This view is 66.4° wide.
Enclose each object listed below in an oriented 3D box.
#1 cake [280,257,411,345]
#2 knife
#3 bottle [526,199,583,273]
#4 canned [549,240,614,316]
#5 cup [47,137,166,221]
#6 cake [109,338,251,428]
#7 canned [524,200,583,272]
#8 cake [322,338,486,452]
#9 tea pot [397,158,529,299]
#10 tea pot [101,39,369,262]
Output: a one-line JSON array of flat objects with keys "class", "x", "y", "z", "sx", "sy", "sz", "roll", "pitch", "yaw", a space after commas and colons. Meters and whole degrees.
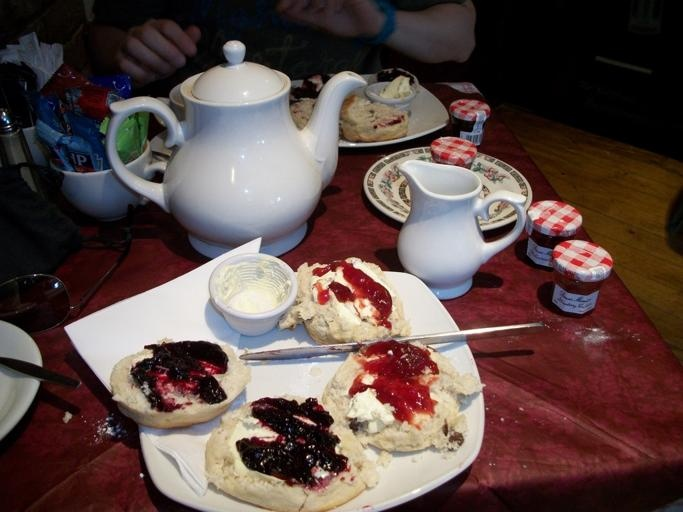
[{"class": "cake", "x": 0.017, "y": 0.077, "z": 0.852, "sx": 0.161, "sy": 0.054, "sz": 0.146, "roll": 17, "pitch": 50, "yaw": 9}, {"class": "knife", "x": 0.073, "y": 0.136, "z": 0.833, "sx": 0.386, "sy": 0.037, "sz": 0.018, "roll": -5, "pitch": 92, "yaw": -1}, {"class": "bottle", "x": 0.395, "y": -0.050, "z": 1.042, "sx": 0.110, "sy": 0.127, "sz": 0.118, "roll": 3, "pitch": 45, "yaw": 12}, {"class": "canned", "x": 0.415, "y": 0.050, "z": 0.920, "sx": 0.101, "sy": 0.095, "sz": 0.107, "roll": 21, "pitch": 78, "yaw": -23}, {"class": "cup", "x": -0.475, "y": -0.153, "z": 1.082, "sx": 0.182, "sy": 0.104, "sz": 0.144, "roll": 1, "pitch": 42, "yaw": -7}, {"class": "cake", "x": -0.233, "y": 0.180, "z": 0.757, "sx": 0.149, "sy": 0.051, "sz": 0.126, "roll": -15, "pitch": 46, "yaw": -29}, {"class": "canned", "x": 0.382, "y": -0.053, "z": 1.001, "sx": 0.110, "sy": 0.127, "sz": 0.118, "roll": 4, "pitch": 45, "yaw": 15}, {"class": "cake", "x": 0.087, "y": 0.204, "z": 0.748, "sx": 0.168, "sy": 0.057, "sz": 0.158, "roll": 14, "pitch": 41, "yaw": 20}, {"class": "tea pot", "x": 0.197, "y": -0.093, "z": 0.999, "sx": 0.276, "sy": 0.259, "sz": 0.173, "roll": 18, "pitch": 46, "yaw": 21}, {"class": "tea pot", "x": -0.153, "y": -0.253, "z": 1.029, "sx": 0.477, "sy": 0.380, "sz": 0.315, "roll": -5, "pitch": 43, "yaw": -10}]
